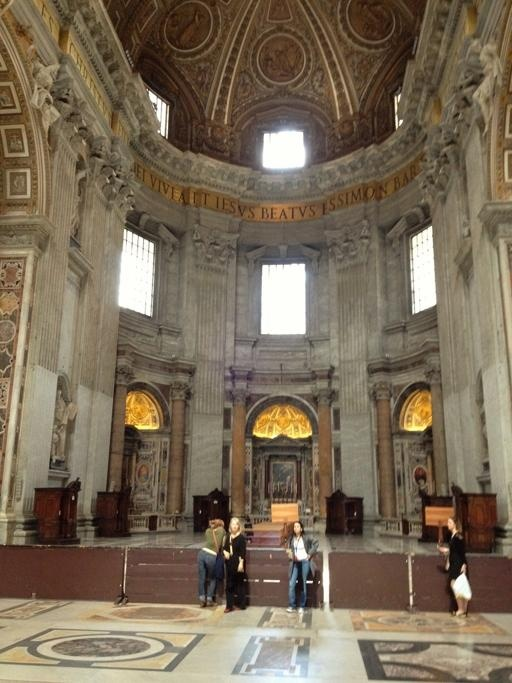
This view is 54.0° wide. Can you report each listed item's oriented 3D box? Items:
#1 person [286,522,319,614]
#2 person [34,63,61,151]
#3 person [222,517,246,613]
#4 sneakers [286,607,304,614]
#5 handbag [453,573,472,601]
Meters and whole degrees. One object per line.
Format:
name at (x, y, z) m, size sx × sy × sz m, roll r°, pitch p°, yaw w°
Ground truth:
person at (0.587, 2.839, 6.420) m, size 0.390 × 1.048 × 0.507 m, roll -3°, pitch -14°, yaw 4°
person at (-4.588, -5.332, 11.052) m, size 0.478 × 1.440 × 0.715 m, roll 10°, pitch -15°, yaw -37°
person at (-0.267, 2.892, 6.554) m, size 0.295 × 1.105 × 0.625 m, roll -1°, pitch -14°, yaw -3°
sneakers at (0.486, 3.300, 6.194) m, size 0.200 × 0.088 × 0.062 m, roll 18°, pitch -18°, yaw -4°
handbag at (2.457, 2.946, 6.046) m, size 0.186 × 0.343 × 0.253 m, roll -9°, pitch -16°, yaw 25°
